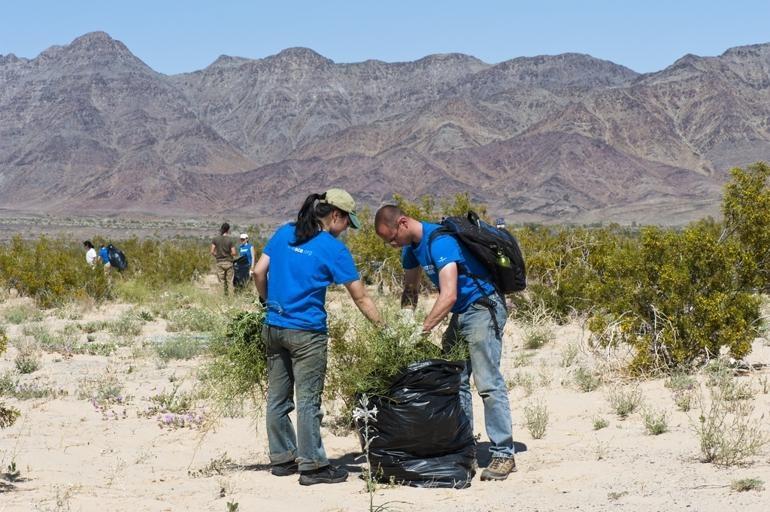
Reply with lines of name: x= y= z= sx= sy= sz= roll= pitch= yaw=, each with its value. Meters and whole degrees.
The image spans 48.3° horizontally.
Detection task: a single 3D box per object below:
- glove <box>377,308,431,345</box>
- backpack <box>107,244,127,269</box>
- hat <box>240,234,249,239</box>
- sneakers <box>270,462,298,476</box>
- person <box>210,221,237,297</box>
glove: x=0.274 y=1.015 z=11.911 sx=0.467 sy=0.369 sz=0.506 roll=29 pitch=45 yaw=28
backpack: x=-7.671 y=0.128 z=24.658 sx=0.211 sy=0.650 sz=0.630 roll=-20 pitch=29 yaw=9
hat: x=-3.450 y=-0.457 z=20.840 sx=0.171 sy=0.149 sz=0.301 roll=4 pitch=6 yaw=16
sneakers: x=-1.398 y=2.990 z=11.991 sx=0.381 sy=0.203 sz=0.151 roll=-4 pitch=4 yaw=-6
person: x=-3.930 y=0.050 z=20.997 sx=0.618 sy=1.868 sz=1.519 roll=-2 pitch=-8 yaw=-12
